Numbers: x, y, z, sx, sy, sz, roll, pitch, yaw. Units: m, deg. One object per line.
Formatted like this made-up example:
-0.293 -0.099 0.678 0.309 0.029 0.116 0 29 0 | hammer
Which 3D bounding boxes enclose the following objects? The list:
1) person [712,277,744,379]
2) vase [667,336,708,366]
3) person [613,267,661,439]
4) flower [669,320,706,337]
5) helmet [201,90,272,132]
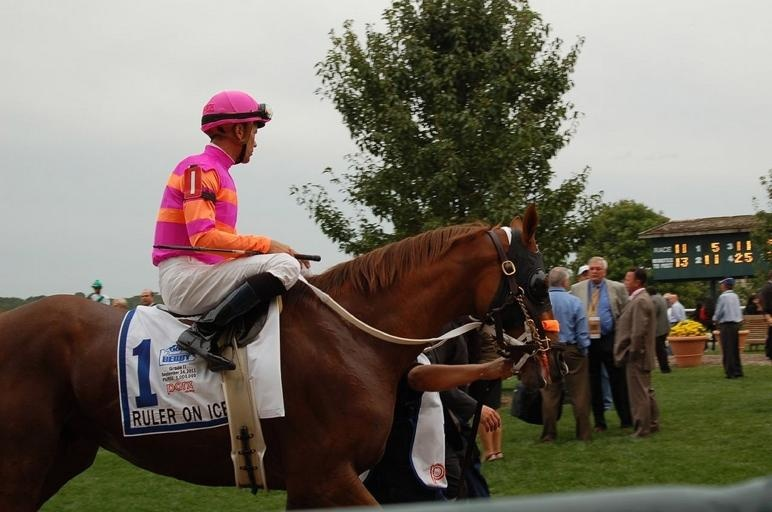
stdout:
5.399 1.104 12.846 0.540 1.443 0.530 0 -1 -35 | person
5.638 1.745 14.935 0.662 0.426 0.651 -8 -15 38 | vase
2.826 1.161 9.140 0.455 1.594 0.771 -2 4 16 | person
5.608 1.350 15.040 0.596 0.260 0.758 -2 3 18 | flower
-1.016 -1.005 5.476 0.508 0.216 0.341 -3 16 -8 | helmet
